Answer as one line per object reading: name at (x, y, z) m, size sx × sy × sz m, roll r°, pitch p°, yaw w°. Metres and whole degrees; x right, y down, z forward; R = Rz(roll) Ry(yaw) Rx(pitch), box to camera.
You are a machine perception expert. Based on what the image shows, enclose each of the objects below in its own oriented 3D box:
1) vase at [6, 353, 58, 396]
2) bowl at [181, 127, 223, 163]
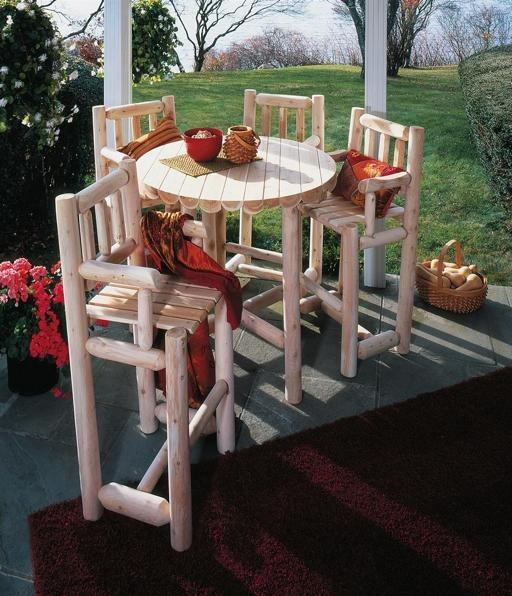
vase at (-0.859, 0.275, 2.030) m, size 0.181 × 0.182 × 0.193 m, roll -5°, pitch 19°, yaw -30°
bowl at (-0.200, -0.568, 1.922) m, size 0.145 × 0.095 × 0.145 m, roll -1°, pitch 18°, yaw 0°
